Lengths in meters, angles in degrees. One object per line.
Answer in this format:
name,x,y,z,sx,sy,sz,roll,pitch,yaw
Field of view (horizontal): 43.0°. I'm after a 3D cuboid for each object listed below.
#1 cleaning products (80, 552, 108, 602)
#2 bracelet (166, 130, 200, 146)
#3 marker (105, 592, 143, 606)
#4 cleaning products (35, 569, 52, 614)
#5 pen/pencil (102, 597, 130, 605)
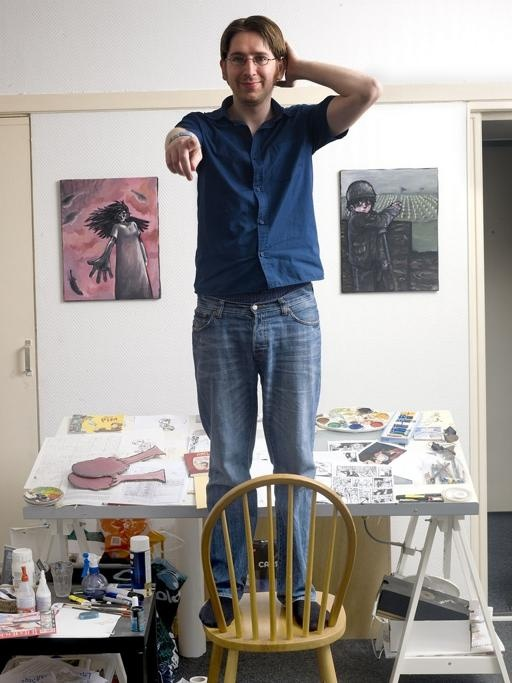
cleaning products,-0.477,0.692,1.918,0.079,0.124,0.079,-6,-10,44
bracelet,-0.182,-0.498,1.586,0.076,0.046,0.093,-4,7,-7
marker,-0.371,0.722,1.818,0.109,0.035,0.026,-1,29,31
cleaning products,-0.579,0.684,1.775,0.045,0.108,0.043,-3,-1,-21
pen/pencil,-0.385,0.726,1.811,0.085,0.021,0.023,-1,-20,24
